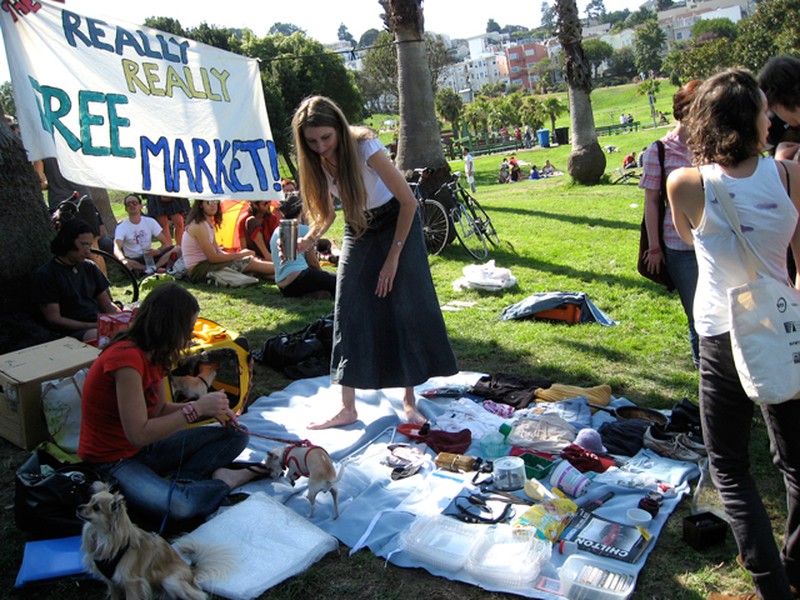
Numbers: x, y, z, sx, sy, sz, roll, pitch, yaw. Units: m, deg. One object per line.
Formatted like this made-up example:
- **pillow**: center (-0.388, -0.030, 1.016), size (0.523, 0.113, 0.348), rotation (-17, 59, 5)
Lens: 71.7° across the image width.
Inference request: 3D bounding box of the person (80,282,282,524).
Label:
- **person**: center (-1.548, 0.761, 3.907), size (1.152, 1.297, 1.098), rotation (-1, 29, -13)

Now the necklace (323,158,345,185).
- **necklace**: center (-0.478, -0.961, 4.116), size (0.063, 0.180, 0.128), rotation (-15, -4, -30)

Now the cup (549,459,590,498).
- **cup**: center (1.144, 1.166, 3.713), size (0.211, 0.199, 0.197), rotation (33, 4, -3)

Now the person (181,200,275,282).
- **person**: center (-2.617, -1.092, 9.119), size (1.682, 1.377, 0.959), rotation (-1, 34, -9)

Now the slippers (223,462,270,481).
- **slippers**: center (-1.070, 1.211, 3.996), size (0.361, 0.130, 0.123), rotation (10, 48, -24)

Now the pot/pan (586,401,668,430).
- **pot/pan**: center (1.828, 0.932, 4.494), size (0.249, 0.110, 0.304), rotation (6, 13, 42)

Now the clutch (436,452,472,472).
- **clutch**: center (0.390, 1.166, 4.013), size (0.203, 0.076, 0.118), rotation (1, 11, 23)

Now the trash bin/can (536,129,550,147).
- **trash bin/can**: center (13.058, -14.678, 50.368), size (0.887, 1.584, 1.891), rotation (-3, 15, 18)

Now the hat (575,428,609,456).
- **hat**: center (1.381, 1.026, 4.032), size (0.163, 0.112, 0.217), rotation (18, 9, 26)

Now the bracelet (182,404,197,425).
- **bracelet**: center (-1.301, 0.697, 3.453), size (0.082, 0.118, 0.119), rotation (-11, 36, -37)

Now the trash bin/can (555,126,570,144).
- **trash bin/can**: center (14.672, -14.858, 50.426), size (1.333, 1.407, 2.181), rotation (-3, 14, 17)

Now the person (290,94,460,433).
- **person**: center (-0.202, -0.407, 4.215), size (1.006, 2.200, 0.474), rotation (-7, 14, 1)

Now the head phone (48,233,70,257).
- **head phone**: center (-3.217, -0.509, 5.249), size (0.153, 0.208, 0.087), rotation (5, -5, 4)

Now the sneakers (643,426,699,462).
- **sneakers**: center (1.907, 1.039, 3.950), size (0.348, 0.143, 0.118), rotation (14, 34, 32)

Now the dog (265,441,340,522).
- **dog**: center (-0.634, 1.133, 3.583), size (0.546, 0.365, 0.186), rotation (2, -12, 36)
